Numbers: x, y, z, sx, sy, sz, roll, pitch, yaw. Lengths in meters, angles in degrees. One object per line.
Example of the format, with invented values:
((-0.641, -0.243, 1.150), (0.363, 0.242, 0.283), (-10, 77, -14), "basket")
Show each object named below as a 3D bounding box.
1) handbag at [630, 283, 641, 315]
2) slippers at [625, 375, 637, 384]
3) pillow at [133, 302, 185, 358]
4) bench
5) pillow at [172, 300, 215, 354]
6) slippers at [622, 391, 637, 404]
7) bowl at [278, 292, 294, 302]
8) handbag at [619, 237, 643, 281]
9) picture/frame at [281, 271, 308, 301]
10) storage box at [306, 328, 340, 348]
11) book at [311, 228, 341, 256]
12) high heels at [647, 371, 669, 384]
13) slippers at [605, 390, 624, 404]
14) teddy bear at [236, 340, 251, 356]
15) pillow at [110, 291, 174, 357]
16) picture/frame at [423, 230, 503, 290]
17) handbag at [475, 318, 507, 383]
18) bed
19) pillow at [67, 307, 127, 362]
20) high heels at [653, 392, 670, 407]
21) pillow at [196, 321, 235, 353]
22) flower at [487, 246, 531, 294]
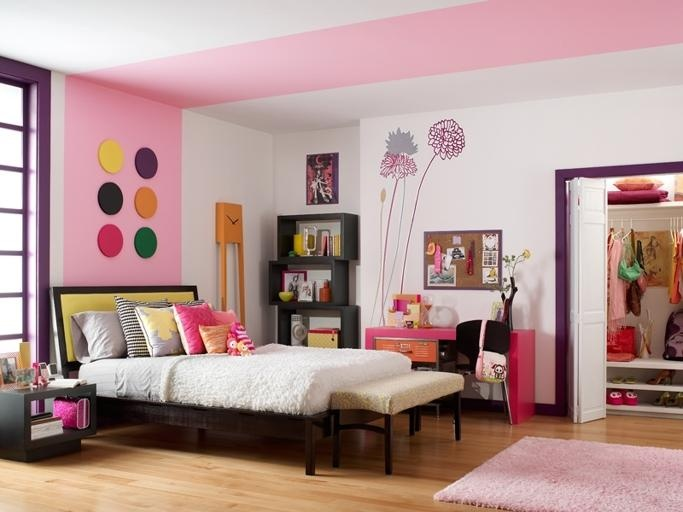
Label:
((3.401, 0.472, 6.152), (0.132, 0.419, 0.117), (3, 34, 39), "handbag")
((3.302, 1.410, 5.995), (0.100, 0.035, 0.105), (0, 0, 21), "slippers")
((-1.737, 0.687, 4.998), (0.143, 0.448, 0.471), (-34, -22, 33), "pillow")
((0.452, 1.315, 4.293), (0.552, 0.607, 1.206), (-3, -4, 39), "bench")
((-1.418, 0.680, 5.049), (0.145, 0.431, 0.487), (-26, -19, 34), "pillow")
((3.165, 1.555, 5.753), (0.093, 0.086, 0.198), (-4, -8, 19), "slippers")
((-0.750, 0.555, 7.104), (0.141, 0.090, 0.138), (0, -4, 0), "bowl")
((3.327, 0.027, 6.054), (0.246, 0.537, 0.180), (2, -3, -35), "handbag")
((-0.640, 0.407, 7.143), (0.372, 0.457, 0.032), (0, -3, 24), "picture/frame")
((-0.241, 1.032, 6.720), (0.366, 0.251, 0.231), (0, -1, 25), "storage box")
((-0.194, -0.181, 6.917), (0.428, 0.443, 0.251), (-1, -2, 23), "book")
((3.546, 1.341, 5.860), (0.235, 0.155, 0.203), (-2, -4, 31), "high heels")
((3.041, 1.558, 5.852), (0.142, 0.145, 0.142), (-2, 2, -28), "slippers")
((-0.918, 0.855, 4.887), (0.107, 0.049, 0.108), (3, 7, -23), "teddy bear")
((-1.980, 0.674, 5.052), (0.546, 0.521, 0.162), (1, -20, -46), "pillow")
((1.447, 0.042, 6.116), (0.650, 0.522, 0.025), (-2, -4, 23), "picture/frame")
((1.515, 0.959, 5.328), (0.316, 0.615, 0.242), (-1, -3, 13), "handbag")
((-1.256, 1.004, 4.941), (2.148, 1.364, 1.575), (-1, -2, 23), "bed")
((-2.304, 0.752, 5.149), (0.300, 0.464, 0.612), (-1, 2, 27), "pillow")
((3.536, 1.547, 5.778), (0.148, 0.136, 0.327), (-2, -4, 31), "high heels")
((-1.208, 0.777, 4.971), (0.292, 0.110, 0.205), (5, 37, -45), "pillow")
((1.907, 0.162, 5.934), (0.428, 0.755, 0.294), (5, -4, -7), "flower")
